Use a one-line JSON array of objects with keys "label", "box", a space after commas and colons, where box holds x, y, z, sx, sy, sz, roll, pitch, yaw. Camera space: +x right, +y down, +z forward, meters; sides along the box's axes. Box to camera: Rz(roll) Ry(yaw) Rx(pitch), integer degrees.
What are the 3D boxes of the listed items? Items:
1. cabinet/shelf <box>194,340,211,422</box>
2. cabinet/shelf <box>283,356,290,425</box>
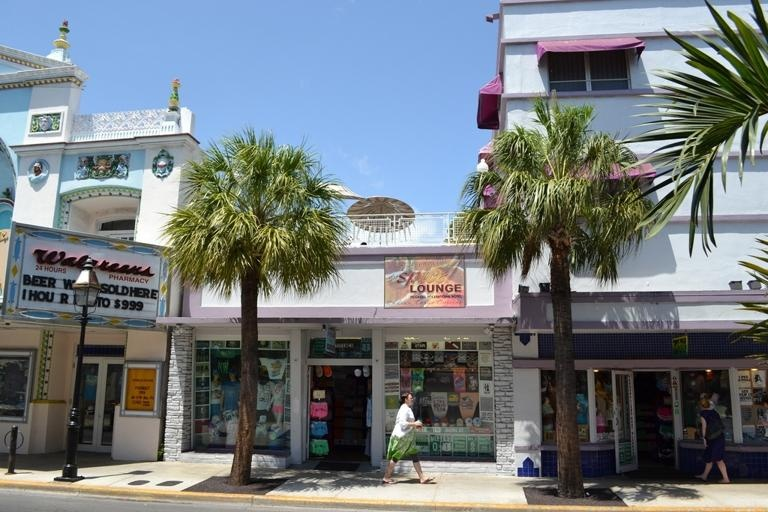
[{"label": "cabinet/shelf", "box": [-5.928, 3.999, 19.720, 0.263, 2.765, 0.541, 3, -2, -33]}, {"label": "cabinet/shelf", "box": [-3.010, 4.237, 18.980, 0.201, 2.188, 0.465, 2, -15, -11]}]
